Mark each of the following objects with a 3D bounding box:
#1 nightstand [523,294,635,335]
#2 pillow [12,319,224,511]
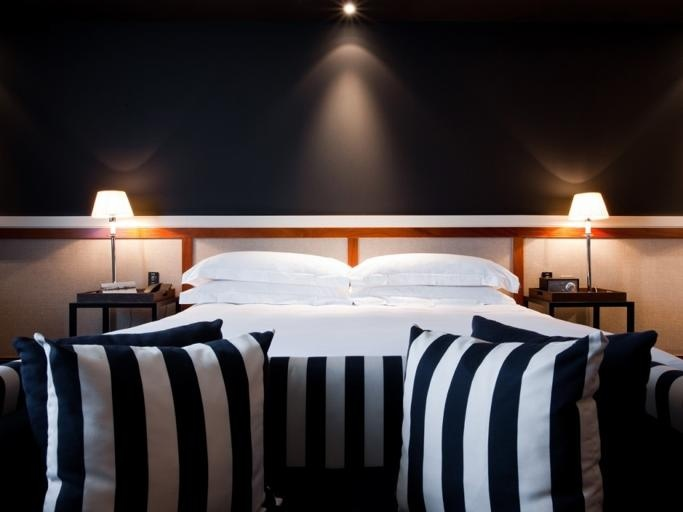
[{"bbox_3d":[1.658,0.345,4.222,0.372,0.416,0.410,0,-3,1],"label":"nightstand"},{"bbox_3d":[-0.866,0.650,2.380,0.651,0.681,0.192,-4,4,-33],"label":"pillow"}]
